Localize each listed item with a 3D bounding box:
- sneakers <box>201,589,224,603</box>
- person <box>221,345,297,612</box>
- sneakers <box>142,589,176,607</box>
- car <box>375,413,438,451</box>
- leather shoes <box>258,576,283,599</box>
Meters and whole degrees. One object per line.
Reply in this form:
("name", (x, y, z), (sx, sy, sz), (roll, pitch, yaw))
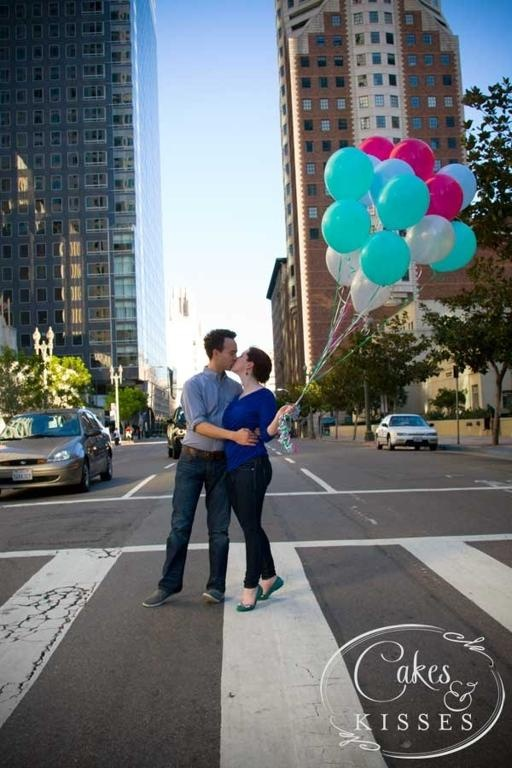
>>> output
("sneakers", (-0.271, 1.396, 3.883), (0.065, 0.070, 0.165), (-2, -28, 42))
("person", (0.030, 0.602, 3.844), (0.458, 1.708, 0.613), (-1, 2, -4))
("sneakers", (-0.639, 1.415, 3.921), (0.082, 0.097, 0.232), (-5, -7, 35))
("car", (6.529, 2.048, 26.256), (1.207, 1.101, 3.063), (0, -8, -3))
("leather shoes", (0.107, 1.389, 4.007), (0.225, 0.088, 0.081), (-48, 6, -34))
